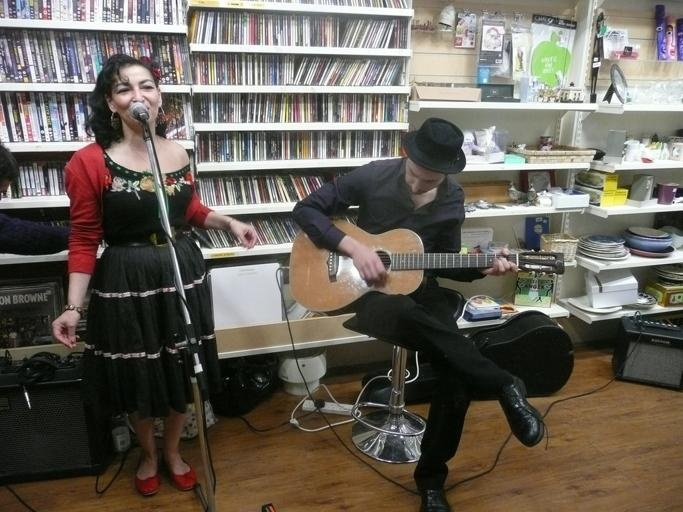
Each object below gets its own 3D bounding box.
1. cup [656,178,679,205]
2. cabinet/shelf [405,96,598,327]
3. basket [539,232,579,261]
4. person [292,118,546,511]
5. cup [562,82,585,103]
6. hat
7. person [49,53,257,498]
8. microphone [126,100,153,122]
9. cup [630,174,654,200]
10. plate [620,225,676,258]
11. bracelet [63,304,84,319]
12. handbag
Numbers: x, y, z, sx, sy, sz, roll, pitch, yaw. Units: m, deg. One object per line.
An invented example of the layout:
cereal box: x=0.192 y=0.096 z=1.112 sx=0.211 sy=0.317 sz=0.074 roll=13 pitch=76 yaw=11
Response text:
cup: x=2.187 y=-0.438 z=3.552 sx=0.152 sy=0.151 sz=0.137 roll=-1 pitch=4 yaw=-42
cabinet/shelf: x=0.941 y=-0.317 z=3.093 sx=1.427 sy=1.664 sz=0.428 roll=-3 pitch=10 yaw=-14
basket: x=1.421 y=-0.081 z=3.431 sx=0.242 sy=0.213 sz=0.318 roll=0 pitch=11 yaw=2
person: x=0.389 y=0.273 z=2.508 sx=0.746 sy=1.830 sz=1.133 roll=-11 pitch=15 yaw=-32
cup: x=1.436 y=-1.030 z=3.304 sx=0.150 sy=0.133 sz=0.150 roll=-1 pitch=24 yaw=0
hat: x=0.438 y=-0.532 z=2.492 sx=0.288 sy=0.260 sz=0.265 roll=-1 pitch=13 yaw=9
person: x=-0.892 y=0.157 z=2.388 sx=0.658 sy=2.048 sz=0.453 roll=-4 pitch=12 yaw=-5
microphone: x=-0.774 y=-0.555 z=2.004 sx=0.057 sy=0.082 sz=0.116 roll=-10 pitch=15 yaw=-30
cup: x=1.972 y=-0.458 z=3.466 sx=0.128 sy=0.170 sz=0.116 roll=6 pitch=15 yaw=34
plate: x=2.064 y=-0.090 z=3.590 sx=0.232 sy=0.092 sz=0.235 roll=-3 pitch=20 yaw=1
bracelet: x=-1.134 y=0.236 z=2.227 sx=0.061 sy=0.079 sz=0.068 roll=8 pitch=17 yaw=41
handbag: x=-0.580 y=0.765 z=3.195 sx=0.358 sy=0.319 sz=0.301 roll=-2 pitch=4 yaw=-22
